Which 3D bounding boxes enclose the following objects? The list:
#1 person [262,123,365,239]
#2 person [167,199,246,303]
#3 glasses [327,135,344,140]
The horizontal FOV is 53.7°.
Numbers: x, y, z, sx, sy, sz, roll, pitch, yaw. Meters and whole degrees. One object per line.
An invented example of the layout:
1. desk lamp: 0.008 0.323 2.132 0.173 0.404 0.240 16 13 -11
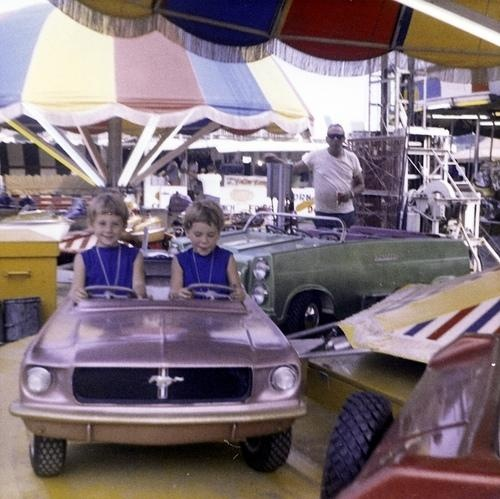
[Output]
1. person: 1.078 -0.942 6.404 0.593 1.296 0.877 0 4 -38
2. person: -0.288 0.079 3.093 0.435 0.768 0.489 -3 17 -11
3. glasses: 1.073 -1.383 6.081 0.208 0.061 0.092 3 2 -11
